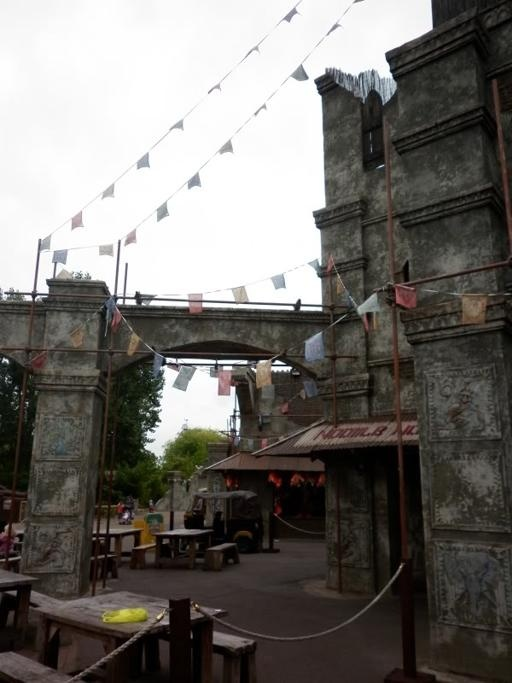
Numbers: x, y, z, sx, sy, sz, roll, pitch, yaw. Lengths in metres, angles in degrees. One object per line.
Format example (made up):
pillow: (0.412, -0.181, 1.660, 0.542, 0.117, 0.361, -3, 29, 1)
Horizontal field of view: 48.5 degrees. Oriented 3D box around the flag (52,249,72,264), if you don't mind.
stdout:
flag: (-3.586, -1.499, 10.401, 0.232, 0.272, 0.189, -1, -15, -2)
